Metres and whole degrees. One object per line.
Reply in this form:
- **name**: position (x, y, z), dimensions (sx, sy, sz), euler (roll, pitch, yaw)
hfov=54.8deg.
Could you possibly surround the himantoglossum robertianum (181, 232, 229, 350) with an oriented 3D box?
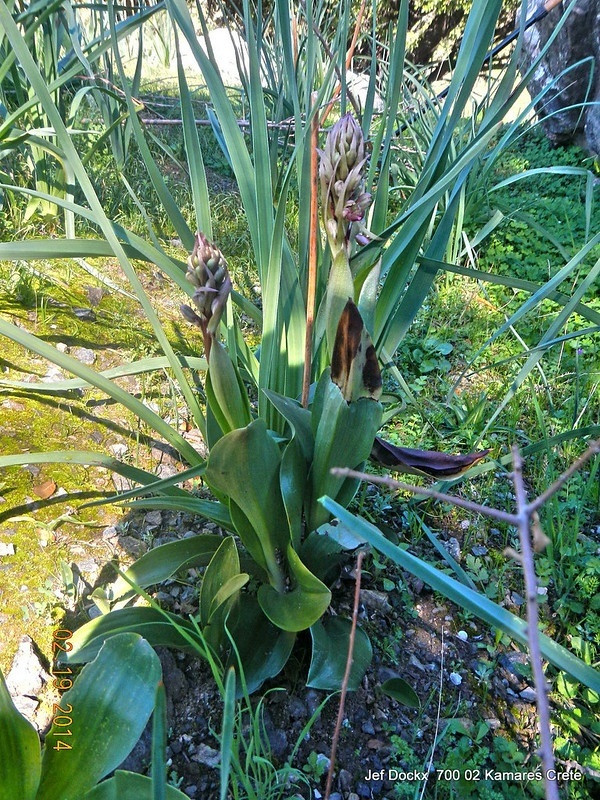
- **himantoglossum robertianum**: position (-0.141, -0.150, 0.855), dimensions (0.069, 0.202, 0.105), euler (-2, 29, -11)
